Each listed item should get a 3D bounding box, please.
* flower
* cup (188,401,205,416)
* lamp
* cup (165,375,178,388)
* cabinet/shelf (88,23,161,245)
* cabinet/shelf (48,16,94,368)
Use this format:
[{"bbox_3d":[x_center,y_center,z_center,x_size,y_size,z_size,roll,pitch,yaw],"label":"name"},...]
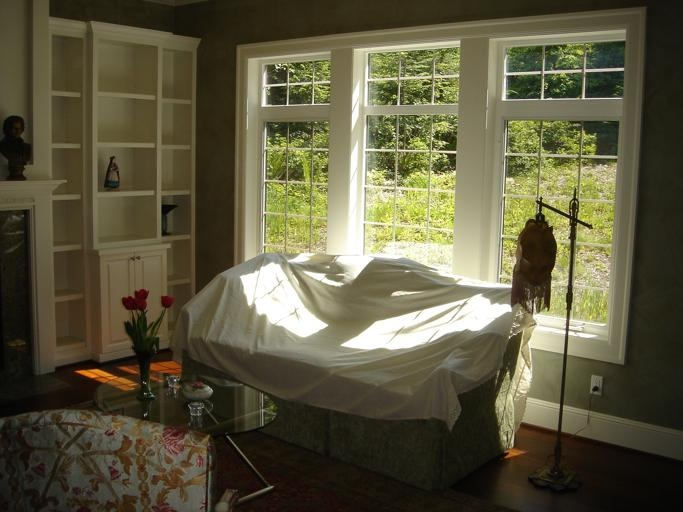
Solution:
[{"bbox_3d":[-1.148,0.528,3.291,0.300,0.594,0.262,-6,-10,-1],"label":"flower"},{"bbox_3d":[-0.812,0.864,3.186,0.065,0.035,0.067,2,0,0],"label":"cup"},{"bbox_3d":[1.403,0.469,3.707,0.369,1.738,0.995,4,10,20],"label":"lamp"},{"bbox_3d":[-1.037,0.771,3.464,0.072,0.057,0.074,4,-5,0],"label":"cup"},{"bbox_3d":[-2.084,-1.051,5.437,0.657,1.912,0.429,-3,8,-36],"label":"cabinet/shelf"},{"bbox_3d":[-2.494,-0.536,5.162,0.421,3.030,0.437,9,13,42],"label":"cabinet/shelf"}]
